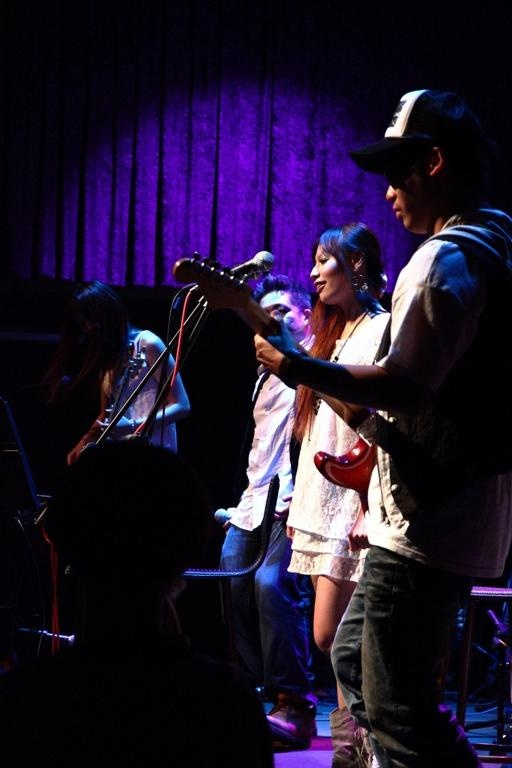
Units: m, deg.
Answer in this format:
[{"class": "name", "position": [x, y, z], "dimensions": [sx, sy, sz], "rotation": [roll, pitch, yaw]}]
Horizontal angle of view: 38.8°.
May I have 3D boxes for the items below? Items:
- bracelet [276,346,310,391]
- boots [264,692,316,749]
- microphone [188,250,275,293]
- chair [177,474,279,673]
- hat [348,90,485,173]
[{"class": "bracelet", "position": [0.067, -0.026, 1.363], "dimensions": [0.019, 0.052, 0.069], "rotation": [8, -25, -31]}, {"class": "boots", "position": [0.113, 1.266, 2.725], "dimensions": [0.117, 0.146, 0.346], "rotation": [-4, -27, 31]}, {"class": "microphone", "position": [-0.047, -0.248, 1.703], "dimensions": [0.106, 0.081, 0.329], "rotation": [21, 11, 12]}, {"class": "chair", "position": [-0.180, 0.812, 3.054], "dimensions": [0.526, 0.826, 0.473], "rotation": [7, -13, -5]}, {"class": "hat", "position": [0.315, -0.479, 1.416], "dimensions": [0.217, 0.121, 0.140], "rotation": [4, 8, 2]}]
